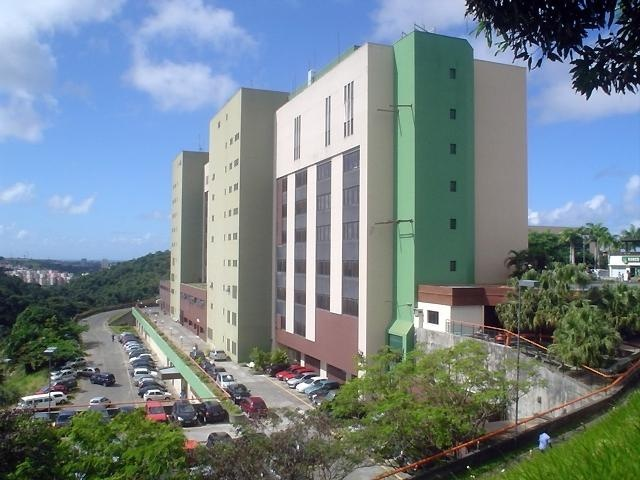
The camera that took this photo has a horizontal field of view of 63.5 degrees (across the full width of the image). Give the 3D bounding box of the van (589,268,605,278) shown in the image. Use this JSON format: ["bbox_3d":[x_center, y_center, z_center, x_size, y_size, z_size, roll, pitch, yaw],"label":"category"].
[{"bbox_3d":[43.204,5.090,80.553,2.581,1.365,4.643,1,0,21],"label":"van"}]
